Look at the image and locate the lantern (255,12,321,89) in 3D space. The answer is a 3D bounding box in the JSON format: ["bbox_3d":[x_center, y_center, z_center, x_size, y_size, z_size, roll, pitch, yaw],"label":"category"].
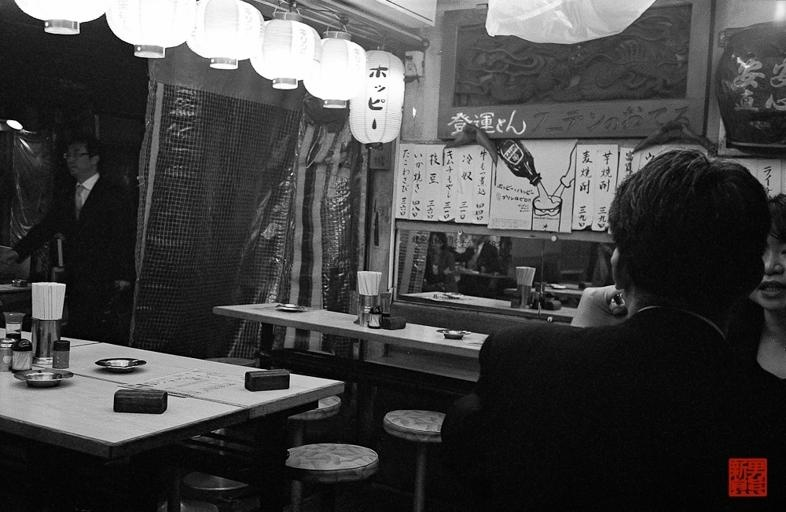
[{"bbox_3d":[-0.688,-1.341,4.638,0.525,0.504,0.499,1,4,6],"label":"lantern"}]

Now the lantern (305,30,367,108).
[{"bbox_3d":[-0.370,-1.412,5.220,0.573,0.576,0.524,2,8,7],"label":"lantern"}]

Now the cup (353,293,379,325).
[{"bbox_3d":[-0.191,0.406,5.193,0.181,0.244,0.256,4,0,-1],"label":"cup"}]
